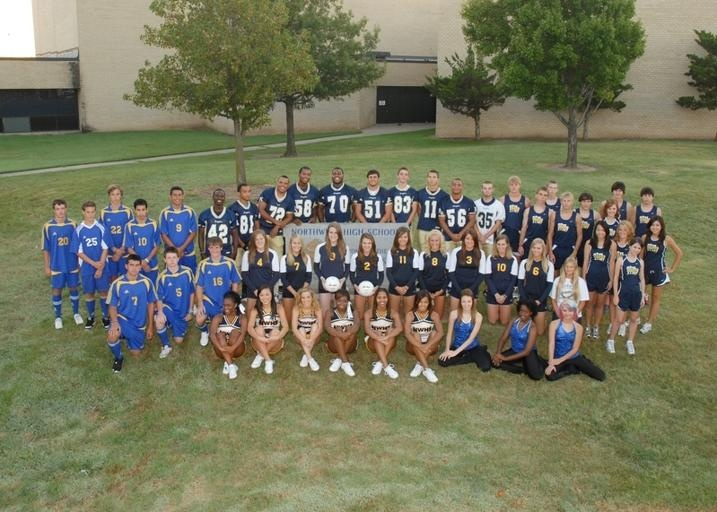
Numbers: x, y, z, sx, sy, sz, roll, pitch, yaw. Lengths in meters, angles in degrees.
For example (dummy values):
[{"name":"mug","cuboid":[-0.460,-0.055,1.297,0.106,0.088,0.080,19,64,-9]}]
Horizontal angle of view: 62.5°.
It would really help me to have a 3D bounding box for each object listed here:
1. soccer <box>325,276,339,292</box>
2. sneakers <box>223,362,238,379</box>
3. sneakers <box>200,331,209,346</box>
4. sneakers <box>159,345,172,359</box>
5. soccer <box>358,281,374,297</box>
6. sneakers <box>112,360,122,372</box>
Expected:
[{"name":"soccer","cuboid":[-0.592,0.643,13.647,0.303,0.258,0.320,1,9,5]},{"name":"sneakers","cuboid":[-2.709,2.425,12.498,0.199,0.149,0.352,-15,21,-30]},{"name":"sneakers","cuboid":[-3.497,1.893,13.388,0.125,0.169,0.376,-3,48,-2]},{"name":"sneakers","cuboid":[-4.270,2.096,13.050,0.249,0.202,0.382,-5,18,-14]},{"name":"soccer","cuboid":[0.169,0.755,13.558,0.301,0.241,0.321,-11,38,-11]},{"name":"sneakers","cuboid":[-5.136,2.334,12.547,0.211,0.191,0.302,-6,18,-19]}]
